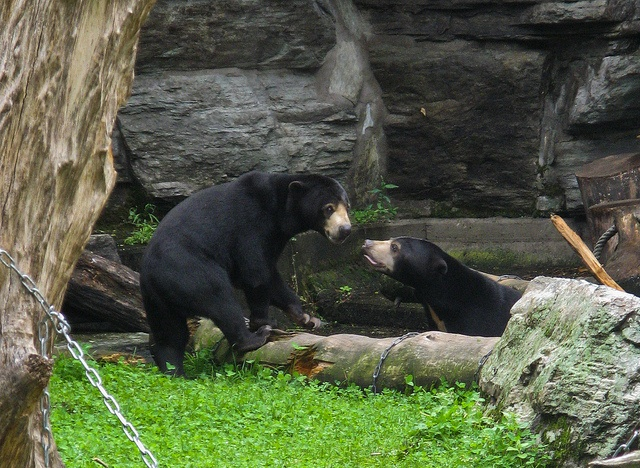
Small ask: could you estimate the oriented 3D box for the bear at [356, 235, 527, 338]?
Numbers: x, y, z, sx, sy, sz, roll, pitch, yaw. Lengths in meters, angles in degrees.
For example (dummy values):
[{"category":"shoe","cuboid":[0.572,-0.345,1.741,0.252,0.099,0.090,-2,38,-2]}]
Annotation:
[{"category":"bear","cuboid":[1.111,0.630,9.387,1.694,0.829,0.539,28,-14,-27]}]
